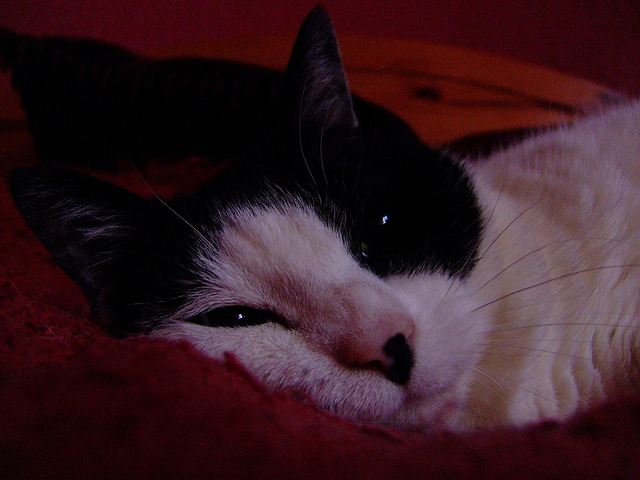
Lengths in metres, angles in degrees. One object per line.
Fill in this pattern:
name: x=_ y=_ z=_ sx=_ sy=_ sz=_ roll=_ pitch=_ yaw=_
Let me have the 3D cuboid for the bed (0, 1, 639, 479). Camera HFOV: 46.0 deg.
bed: x=-0.064 y=0.036 z=1.740 sx=1.130 sy=0.294 sz=0.919 roll=-5 pitch=83 yaw=-2
